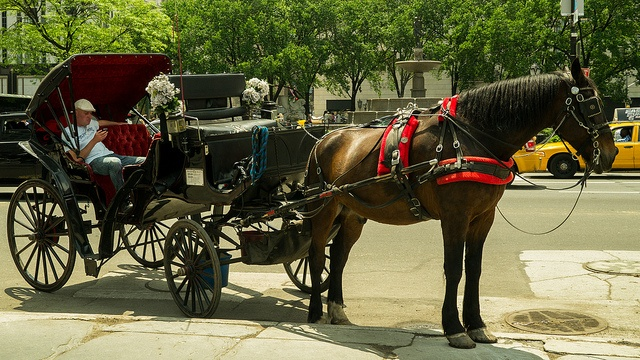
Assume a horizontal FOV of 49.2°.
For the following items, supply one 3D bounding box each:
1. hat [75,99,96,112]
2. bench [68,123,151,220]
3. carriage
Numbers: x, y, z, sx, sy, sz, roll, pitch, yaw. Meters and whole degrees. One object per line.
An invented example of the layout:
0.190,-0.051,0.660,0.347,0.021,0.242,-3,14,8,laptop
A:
-5.171,-1.649,15.372,0.431,0.156,0.261,1,5,-9,hat
-4.811,-0.533,15.182,1.584,1.862,0.959,-3,7,16,bench
-1.103,-0.187,15.531,13.685,4.328,5.769,1,2,27,carriage
